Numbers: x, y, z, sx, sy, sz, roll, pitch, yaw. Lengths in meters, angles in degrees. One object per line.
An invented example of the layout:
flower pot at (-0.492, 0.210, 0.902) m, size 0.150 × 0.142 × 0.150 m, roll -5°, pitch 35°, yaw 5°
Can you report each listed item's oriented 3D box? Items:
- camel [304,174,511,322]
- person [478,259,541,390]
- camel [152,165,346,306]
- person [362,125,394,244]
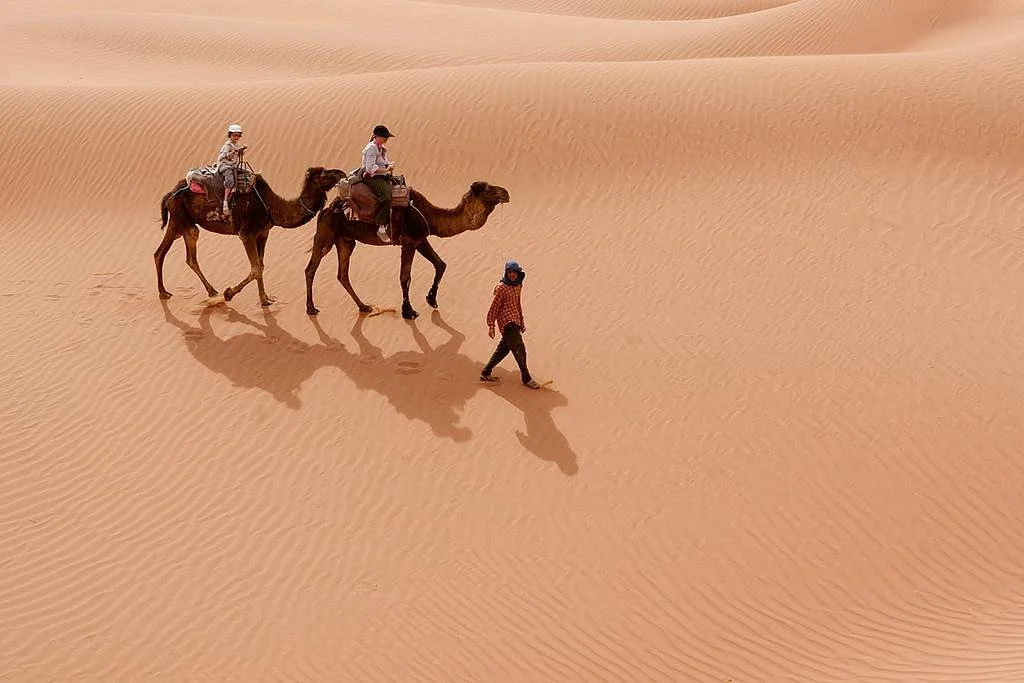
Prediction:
camel at (-2.159, -1.727, 20.086) m, size 3.677 × 2.673 × 1.174 m, roll 0°, pitch 38°, yaw -2°
person at (-0.004, -0.255, 18.226) m, size 1.131 × 2.028 × 1.219 m, roll -5°, pitch 10°, yaw -29°
camel at (-5.234, -1.976, 20.911) m, size 1.789 × 3.374 × 2.197 m, roll 33°, pitch 11°, yaw -5°
person at (-2.494, -2.955, 19.531) m, size 0.783 × 2.022 × 0.822 m, roll -7°, pitch 19°, yaw -23°
